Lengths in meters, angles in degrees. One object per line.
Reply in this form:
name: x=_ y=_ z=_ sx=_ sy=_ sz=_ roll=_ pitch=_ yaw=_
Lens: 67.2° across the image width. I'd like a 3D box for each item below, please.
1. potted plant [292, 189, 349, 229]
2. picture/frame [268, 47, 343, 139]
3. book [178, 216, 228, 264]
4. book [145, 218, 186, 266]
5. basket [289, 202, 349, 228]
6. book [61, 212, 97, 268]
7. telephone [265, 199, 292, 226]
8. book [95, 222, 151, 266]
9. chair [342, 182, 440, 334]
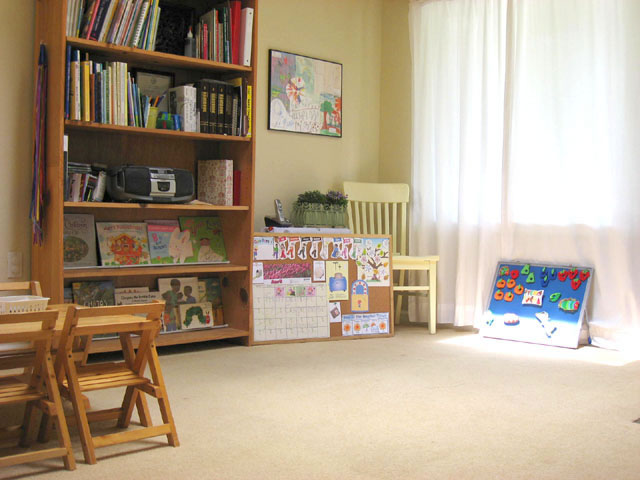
potted plant: x=0.019 y=-0.232 z=3.903 sx=0.440 sy=0.383 sz=0.278 roll=1 pitch=-3 yaw=-33
picture/frame: x=-0.156 y=-1.303 z=4.263 sx=0.829 sy=0.774 sz=0.065 roll=2 pitch=-3 yaw=-35
book: x=-0.934 y=0.001 z=3.753 sx=0.348 sy=0.376 sz=0.327 roll=5 pitch=-15 yaw=-38
book: x=-1.114 y=0.027 z=3.454 sx=0.314 sy=0.423 sz=0.046 roll=2 pitch=-17 yaw=-42
basket: x=0.006 y=-0.196 z=3.913 sx=0.426 sy=0.194 sz=0.218 roll=1 pitch=2 yaw=-9
book: x=-1.563 y=0.011 z=3.126 sx=0.041 sy=0.432 sz=0.306 roll=-23 pitch=-22 yaw=39
telephone: x=-0.317 y=-0.189 z=3.892 sx=0.121 sy=0.295 sz=0.390 roll=1 pitch=-3 yaw=-28
book: x=-1.353 y=0.037 z=3.289 sx=0.265 sy=0.284 sz=0.028 roll=8 pitch=-23 yaw=-39
chair: x=0.668 y=0.121 z=4.321 sx=0.704 sy=1.329 sz=0.861 roll=0 pitch=2 yaw=-41
